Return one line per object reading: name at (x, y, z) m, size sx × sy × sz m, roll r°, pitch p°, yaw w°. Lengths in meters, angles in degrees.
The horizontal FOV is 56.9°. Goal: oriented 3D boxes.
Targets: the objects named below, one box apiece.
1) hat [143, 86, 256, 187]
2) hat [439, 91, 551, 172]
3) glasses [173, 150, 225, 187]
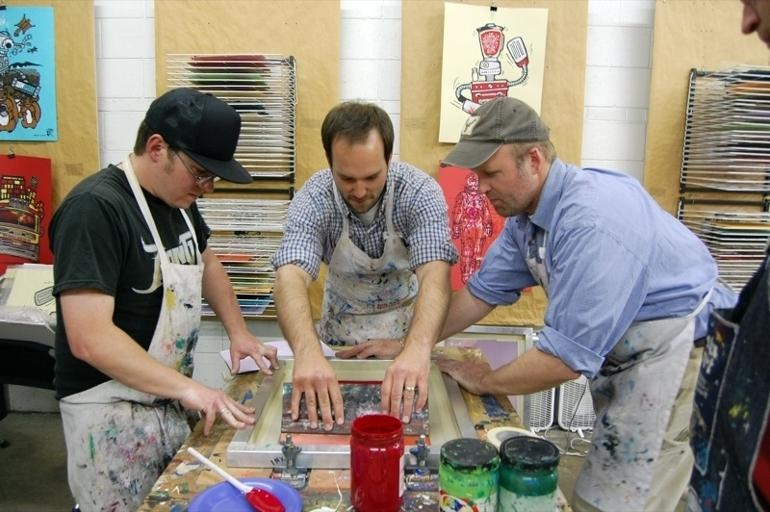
hat at (-0.774, -0.545, 3.117) m, size 0.444 × 0.251 × 0.325 m, roll 29°, pitch 15°, yaw -8°
hat at (0.476, -0.554, 3.128) m, size 0.411 × 0.245 × 0.290 m, roll -16°, pitch 14°, yaw -11°
glasses at (-0.814, -0.382, 3.071) m, size 0.039 × 0.156 × 0.142 m, roll -23°, pitch -4°, yaw 7°
